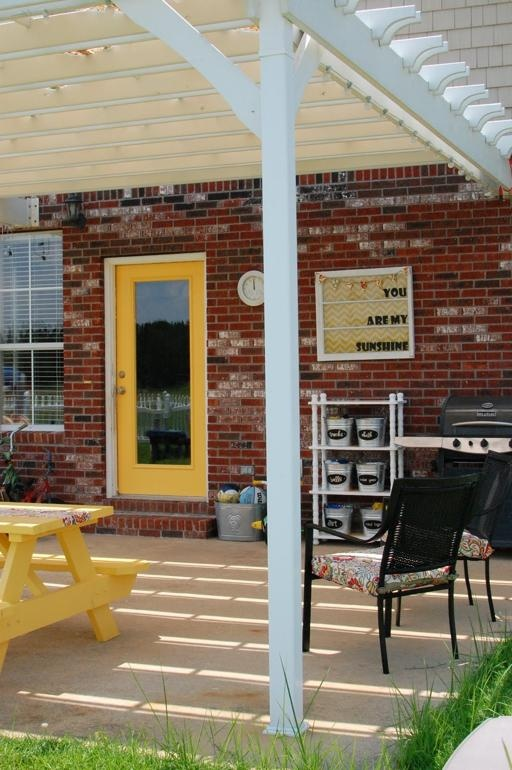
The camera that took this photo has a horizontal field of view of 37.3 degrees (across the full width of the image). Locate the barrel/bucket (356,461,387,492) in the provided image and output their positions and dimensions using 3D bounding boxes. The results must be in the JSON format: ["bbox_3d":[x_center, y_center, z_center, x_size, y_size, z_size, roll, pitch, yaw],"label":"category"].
[{"bbox_3d":[0.881,0.704,5.822,0.214,0.198,0.229,0,-5,0],"label":"barrel/bucket"}]

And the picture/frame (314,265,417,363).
[{"bbox_3d":[0.921,-0.574,6.176,0.811,0.740,0.065,-1,-1,20],"label":"picture/frame"}]

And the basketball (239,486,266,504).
[{"bbox_3d":[-0.030,0.884,6.206,0.127,0.142,0.174,-1,7,-39],"label":"basketball"}]

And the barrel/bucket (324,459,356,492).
[{"bbox_3d":[0.651,0.703,5.926,0.215,0.215,0.232,0,-6,0],"label":"barrel/bucket"}]

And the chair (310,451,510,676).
[{"bbox_3d":[0.792,0.903,3.801,0.383,0.553,0.953,1,0,42],"label":"chair"}]

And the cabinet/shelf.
[{"bbox_3d":[0.833,0.712,6.087,0.779,1.123,0.432,-3,-13,26],"label":"cabinet/shelf"}]

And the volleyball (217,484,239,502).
[{"bbox_3d":[-0.238,0.923,6.331,0.128,0.146,0.158,4,41,-1],"label":"volleyball"}]

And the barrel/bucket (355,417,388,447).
[{"bbox_3d":[0.883,0.362,5.864,0.215,0.180,0.226,0,-7,0],"label":"barrel/bucket"}]

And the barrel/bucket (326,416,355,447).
[{"bbox_3d":[0.654,0.363,5.974,0.207,0.168,0.221,1,-10,0],"label":"barrel/bucket"}]

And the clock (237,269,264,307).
[{"bbox_3d":[-0.051,-0.817,6.488,0.265,0.314,0.075,-3,-5,30],"label":"clock"}]
